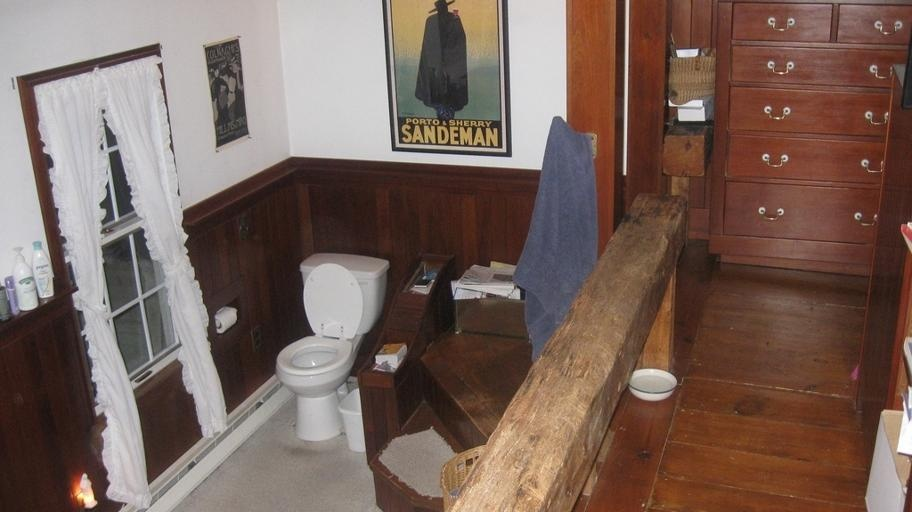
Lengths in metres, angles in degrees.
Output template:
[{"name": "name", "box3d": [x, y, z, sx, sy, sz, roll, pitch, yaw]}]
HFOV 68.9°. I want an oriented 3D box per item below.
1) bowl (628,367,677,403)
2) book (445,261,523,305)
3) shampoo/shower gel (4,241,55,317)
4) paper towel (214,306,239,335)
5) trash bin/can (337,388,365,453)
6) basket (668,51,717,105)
[{"name": "bowl", "box3d": [1.200, 0.783, 4.062, 0.229, 0.058, 0.218, -7, 30, 4]}, {"name": "book", "box3d": [0.231, 0.223, 5.446, 0.359, 0.092, 0.359, 7, 21, 23]}, {"name": "shampoo/shower gel", "box3d": [-2.720, 0.133, 4.219, 0.119, 0.405, 0.279, 13, 25, 38]}, {"name": "paper towel", "box3d": [-1.872, 0.513, 5.471, 0.116, 0.191, 0.288, 1, 19, 13]}, {"name": "trash bin/can", "box3d": [-0.880, 1.326, 5.549, 0.177, 0.571, 0.426, -8, 20, -13]}, {"name": "basket", "box3d": [1.700, -1.282, 4.795, 0.316, 0.304, 0.179, -25, 30, -35]}]
